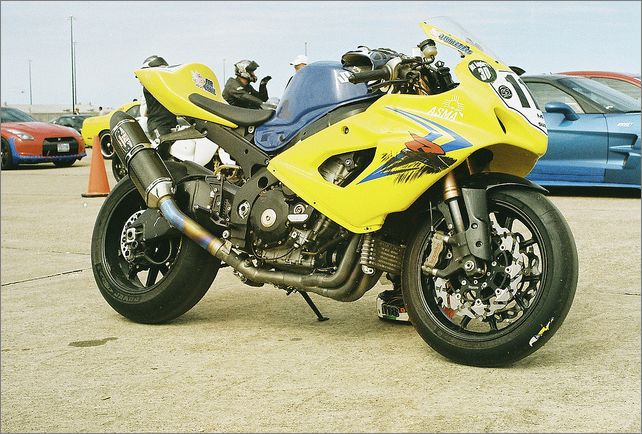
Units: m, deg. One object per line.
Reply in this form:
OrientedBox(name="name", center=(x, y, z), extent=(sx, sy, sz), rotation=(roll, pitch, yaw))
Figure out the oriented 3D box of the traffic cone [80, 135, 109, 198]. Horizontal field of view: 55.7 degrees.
OrientedBox(name="traffic cone", center=(-4.031, -0.922, 10.941), extent=(0.766, 1.018, 0.754), rotation=(-3, 9, -32))
